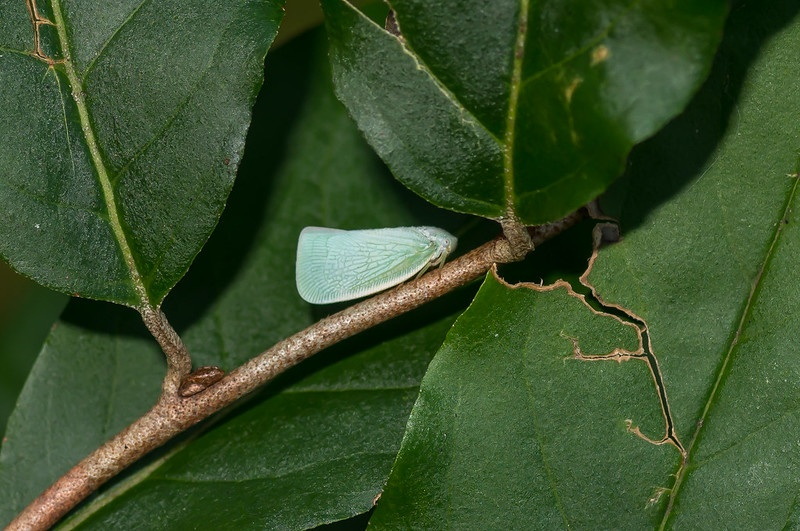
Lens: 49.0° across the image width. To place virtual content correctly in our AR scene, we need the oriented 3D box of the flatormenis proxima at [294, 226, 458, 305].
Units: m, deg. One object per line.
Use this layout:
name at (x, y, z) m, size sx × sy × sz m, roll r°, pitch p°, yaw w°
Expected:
flatormenis proxima at (-0.079, -0.013, 2.213) m, size 0.292 × 0.102 × 0.230 m, roll 0°, pitch 46°, yaw -8°
